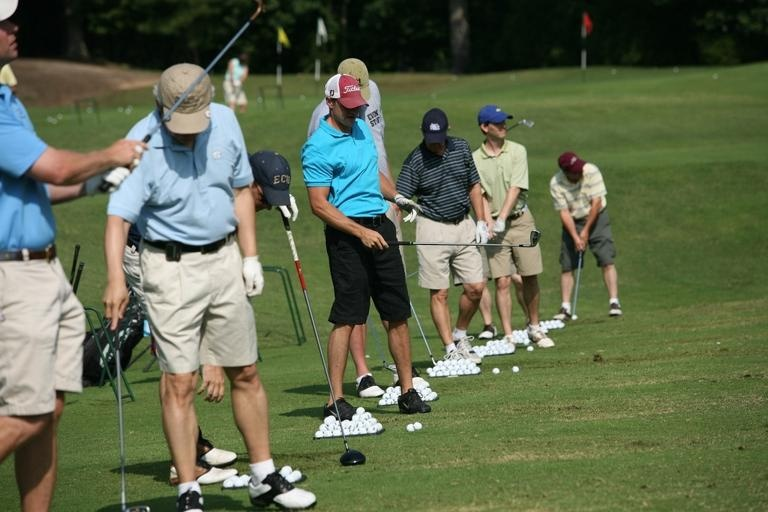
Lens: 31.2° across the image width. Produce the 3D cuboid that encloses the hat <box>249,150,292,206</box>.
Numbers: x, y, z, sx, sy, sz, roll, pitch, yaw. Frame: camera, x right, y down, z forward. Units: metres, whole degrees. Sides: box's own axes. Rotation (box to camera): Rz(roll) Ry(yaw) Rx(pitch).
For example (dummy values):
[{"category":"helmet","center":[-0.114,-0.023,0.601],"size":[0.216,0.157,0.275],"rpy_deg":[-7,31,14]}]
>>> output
[{"category":"hat","center":[-1.229,-0.934,15.468],"size":[0.415,0.351,0.637],"rpy_deg":[-13,60,-48]}]

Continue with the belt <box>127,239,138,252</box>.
[{"category":"belt","center":[-2.871,-0.122,15.794],"size":[0.132,0.089,0.130],"rpy_deg":[25,-5,6]}]

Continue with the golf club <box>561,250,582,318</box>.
[{"category":"golf club","center":[2.782,0.424,20.602],"size":[0.139,0.997,0.141],"rpy_deg":[7,7,23]}]

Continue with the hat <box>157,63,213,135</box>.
[{"category":"hat","center":[-2.068,-1.647,14.309],"size":[0.508,0.777,0.380],"rpy_deg":[-3,-33,-13]}]

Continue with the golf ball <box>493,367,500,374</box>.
[{"category":"golf ball","center":[1.418,1.467,17.442],"size":[0.064,0.038,0.063],"rpy_deg":[1,6,0]}]

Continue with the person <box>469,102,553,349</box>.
[{"category":"person","center":[1.473,-0.433,18.858],"size":[1.193,3.193,1.444],"rpy_deg":[3,1,9]}]

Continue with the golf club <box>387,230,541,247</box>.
[{"category":"golf club","center":[1.095,-0.227,17.935],"size":[1.552,0.166,0.182],"rpy_deg":[0,-27,-4]}]

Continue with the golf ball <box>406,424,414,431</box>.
[{"category":"golf ball","center":[0.298,1.957,15.649],"size":[0.093,0.061,0.132],"rpy_deg":[-3,13,-1]}]

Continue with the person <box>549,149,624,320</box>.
[{"category":"person","center":[2.934,-0.346,20.530],"size":[1.057,2.474,1.119],"rpy_deg":[2,3,7]}]

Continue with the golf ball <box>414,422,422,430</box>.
[{"category":"golf ball","center":[0.385,1.943,15.645],"size":[0.069,0.048,0.061],"rpy_deg":[0,0,24]}]
